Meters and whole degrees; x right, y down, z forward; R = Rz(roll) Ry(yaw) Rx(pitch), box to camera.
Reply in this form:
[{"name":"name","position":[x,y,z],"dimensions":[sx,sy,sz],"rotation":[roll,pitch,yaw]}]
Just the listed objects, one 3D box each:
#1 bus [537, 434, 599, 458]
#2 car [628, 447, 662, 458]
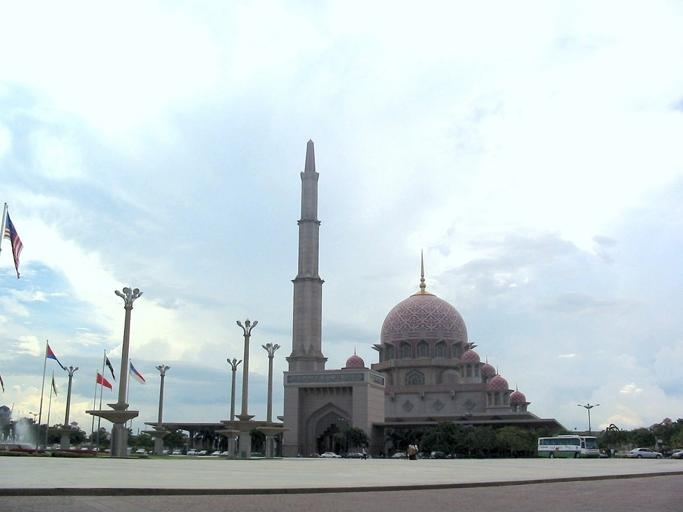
[{"name":"bus","position":[15.445,13.899,53.326],"dimensions":[5.182,1.693,1.764],"rotation":[-16,-21,41]},{"name":"car","position":[24.770,16.347,60.604],"dimensions":[3.315,1.004,1.519],"rotation":[-5,-10,18]}]
